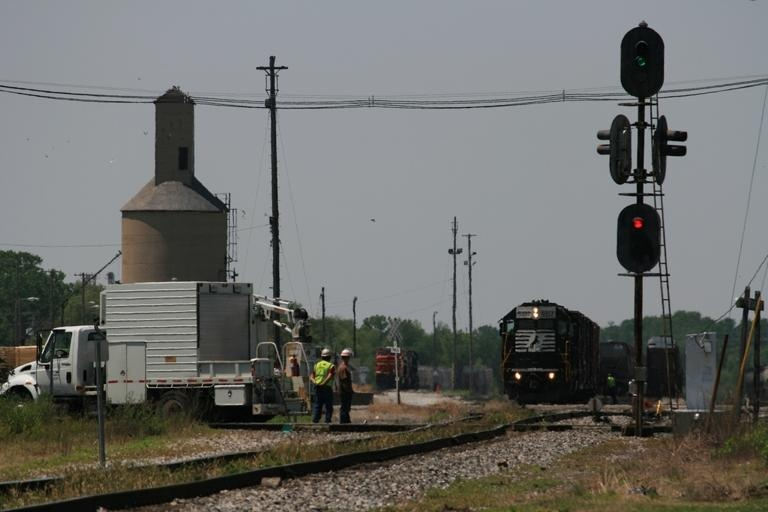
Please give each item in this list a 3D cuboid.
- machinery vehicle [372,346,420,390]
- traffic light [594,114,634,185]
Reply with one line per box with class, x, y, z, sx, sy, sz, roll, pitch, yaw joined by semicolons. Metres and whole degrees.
machinery vehicle;0.930;9.188;119.679;2.071;3.212;7.527;0;-1;12
traffic light;8.769;-3.990;57.176;1.126;2.474;0.805;-3;-7;14
